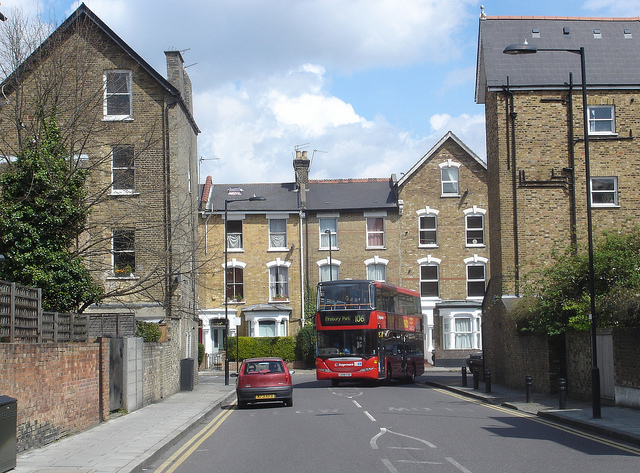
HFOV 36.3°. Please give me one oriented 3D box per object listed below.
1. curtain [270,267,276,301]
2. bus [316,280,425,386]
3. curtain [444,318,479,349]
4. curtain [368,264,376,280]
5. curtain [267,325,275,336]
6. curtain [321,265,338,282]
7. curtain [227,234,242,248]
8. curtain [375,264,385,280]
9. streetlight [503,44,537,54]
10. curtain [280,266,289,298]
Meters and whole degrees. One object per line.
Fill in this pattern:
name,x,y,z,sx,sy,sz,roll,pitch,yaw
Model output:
curtain,-3.143,3.207,65.206,0.386,2.203,0.472,-1,2,-15
bus,3.222,4.931,50.680,3.632,5.770,11.631,0,1,25
curtain,9.318,6.381,64.098,1.845,1.999,0.126,-2,3,6
curtain,3.437,2.361,64.874,0.496,0.956,0.479,0,1,2
curtain,-3.241,6.305,64.627,0.677,0.968,0.097,0,-9,-2
curtain,0.610,2.475,63.582,0.986,1.114,0.116,1,2,4
curtain,-5.709,0.334,65.210,0.918,1.000,0.106,0,-2,-8
curtain,3.994,2.468,64.911,0.970,1.211,0.085,-2,-4,4
streetlight,7.025,-6.478,33.642,0.726,0.186,0.714,1,-1,-10
curtain,-2.374,3.041,65.242,0.593,1.958,0.474,0,1,-1
